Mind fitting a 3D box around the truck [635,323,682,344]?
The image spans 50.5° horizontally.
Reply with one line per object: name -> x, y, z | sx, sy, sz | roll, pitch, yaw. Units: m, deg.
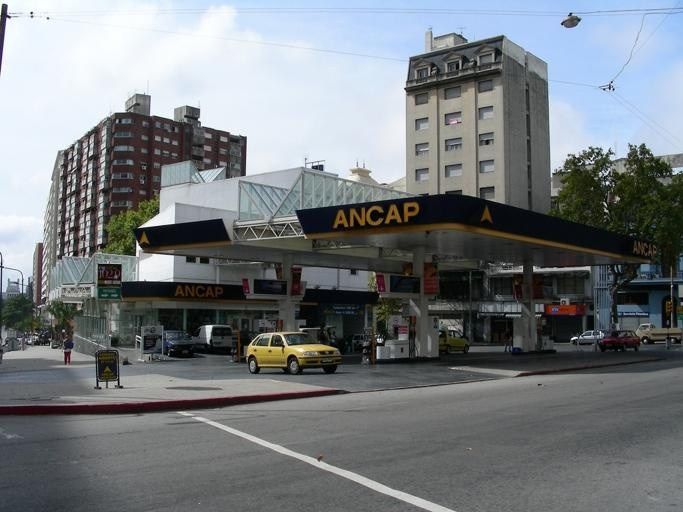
truck -> 27.860, 6.956, 63.287 | 2.920, 1.444, 1.816 | 0, -8, 20

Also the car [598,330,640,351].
car -> 19.689, 6.045, 50.957 | 1.481, 1.049, 2.851 | -9, -21, 32

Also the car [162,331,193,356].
car -> -9.721, 5.312, 43.206 | 1.763, 1.529, 1.842 | 3, -9, -16

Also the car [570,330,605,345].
car -> 21.065, 7.071, 61.688 | 3.414, 1.697, 2.015 | -2, -4, 26

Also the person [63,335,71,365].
person -> -14.086, 4.882, 37.213 | 0.373, 1.509, 1.808 | 3, -9, -22

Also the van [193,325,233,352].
van -> -8.425, 5.545, 48.182 | 2.096, 1.818, 3.121 | 5, -3, -39

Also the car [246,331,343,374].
car -> -2.018, 4.030, 29.543 | 3.712, 1.716, 2.003 | -6, -11, 35

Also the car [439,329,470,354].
car -> 7.391, 5.927, 48.658 | 1.048, 1.532, 2.867 | -7, -12, 42

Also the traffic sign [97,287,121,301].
traffic sign -> -10.304, 1.723, 32.306 | 0.918, 0.538, 0.913 | -2, -9, 12
